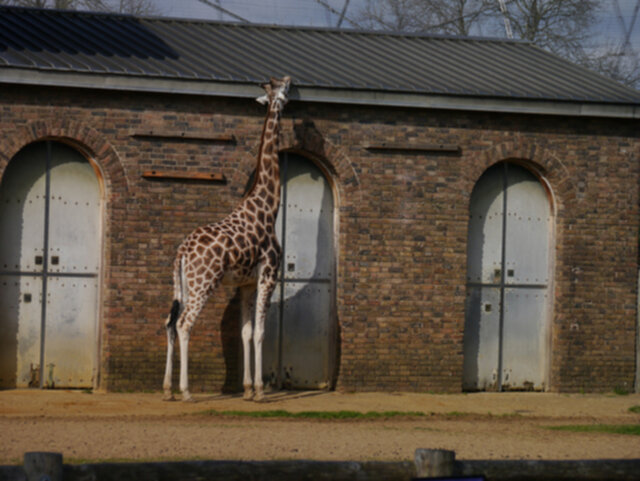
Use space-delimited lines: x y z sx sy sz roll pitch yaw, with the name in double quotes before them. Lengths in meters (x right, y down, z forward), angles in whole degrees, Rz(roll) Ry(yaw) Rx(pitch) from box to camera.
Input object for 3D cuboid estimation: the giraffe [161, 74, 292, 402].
"giraffe" -1.555 -0.055 26.045 1.930 5.795 0.897 2 -6 -2
